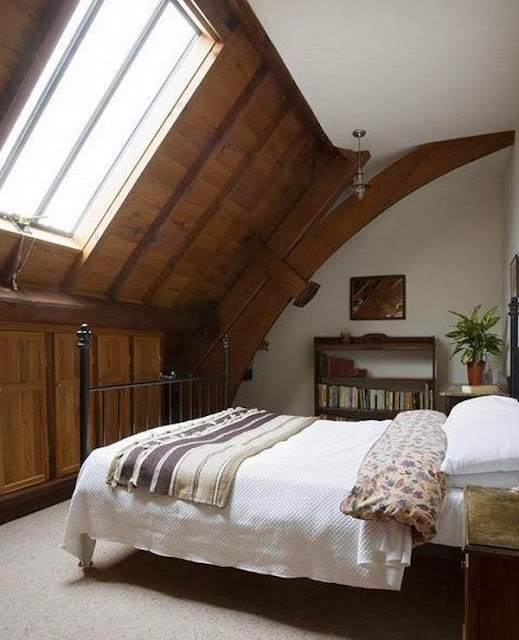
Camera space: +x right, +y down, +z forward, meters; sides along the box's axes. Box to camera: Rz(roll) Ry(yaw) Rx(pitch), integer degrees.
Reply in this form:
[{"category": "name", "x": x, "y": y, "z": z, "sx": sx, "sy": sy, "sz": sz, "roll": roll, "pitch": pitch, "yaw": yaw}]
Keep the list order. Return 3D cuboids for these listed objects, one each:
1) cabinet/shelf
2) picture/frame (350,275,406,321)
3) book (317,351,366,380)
[{"category": "cabinet/shelf", "x": 1.050, "y": 0.523, "z": 4.652, "sx": 0.883, "sy": 0.757, "sz": 0.239, "roll": -1, "pitch": -6, "yaw": 15}, {"category": "picture/frame", "x": 1.124, "y": -0.211, "z": 4.904, "sx": 0.486, "sy": 0.364, "sz": 0.046, "roll": 1, "pitch": -6, "yaw": 15}, {"category": "book", "x": 0.721, "y": 0.430, "z": 4.833, "sx": 0.418, "sy": 0.203, "sz": 0.392, "roll": 2, "pitch": -1, "yaw": 32}]
